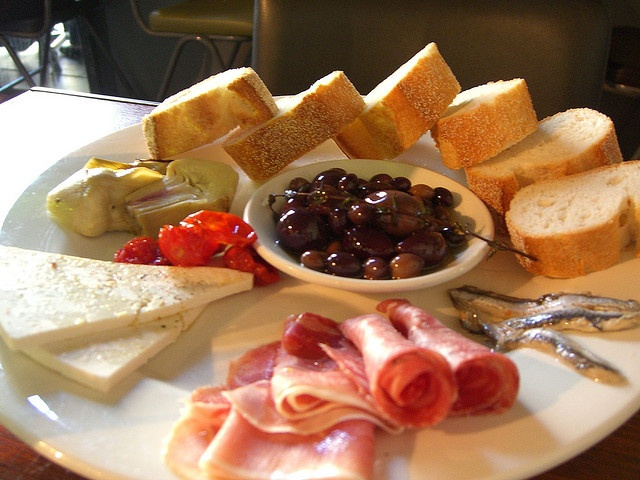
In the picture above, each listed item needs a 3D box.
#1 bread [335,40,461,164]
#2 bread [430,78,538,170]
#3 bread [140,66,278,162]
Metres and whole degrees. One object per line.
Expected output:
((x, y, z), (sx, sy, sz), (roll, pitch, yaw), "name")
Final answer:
((0.159, -0.322, 1.404), (0.361, 0.353, 0.124), (-39, 91, -21), "bread")
((0.411, -0.307, 1.320), (0.333, 0.135, 0.266), (-21, 20, 12), "bread")
((-0.217, -0.291, 1.336), (0.310, 0.329, 0.102), (-28, 101, -40), "bread")
